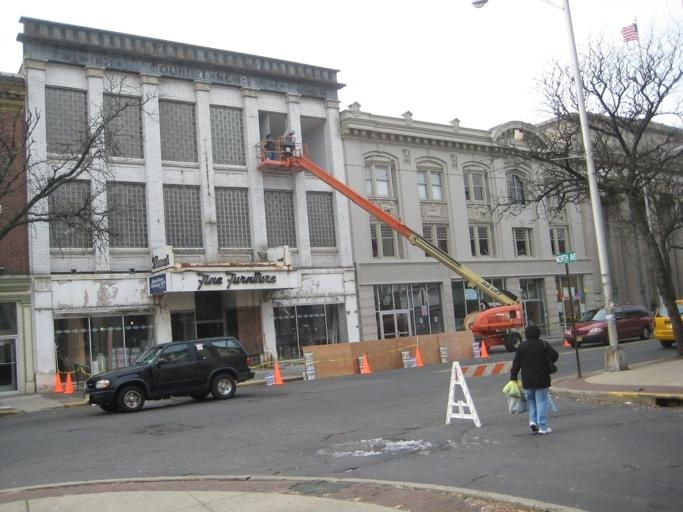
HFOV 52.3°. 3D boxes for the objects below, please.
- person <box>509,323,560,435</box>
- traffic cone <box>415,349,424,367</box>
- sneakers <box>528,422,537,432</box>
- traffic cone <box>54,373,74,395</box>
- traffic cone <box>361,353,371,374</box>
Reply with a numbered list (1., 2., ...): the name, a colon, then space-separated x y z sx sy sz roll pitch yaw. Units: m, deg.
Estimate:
1. person: 4.034 2.530 14.470 0.978 2.188 0.931 -9 -7 14
2. traffic cone: 3.441 4.524 31.201 0.365 0.768 1.281 -8 -6 5
3. sneakers: 3.872 3.484 14.124 0.122 0.199 0.183 -2 -8 -34
4. traffic cone: -11.559 5.341 28.869 0.841 0.719 0.441 0 -2 -21
5. traffic cone: 1.001 4.524 29.462 0.433 0.825 1.284 -7 -6 1
